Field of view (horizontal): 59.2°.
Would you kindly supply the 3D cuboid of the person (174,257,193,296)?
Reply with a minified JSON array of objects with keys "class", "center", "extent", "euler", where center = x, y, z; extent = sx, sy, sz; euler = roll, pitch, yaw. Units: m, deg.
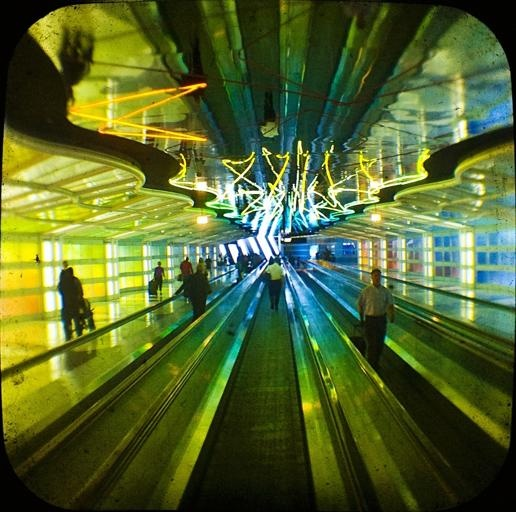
[{"class":"person","center":[-1.747,0.513,10.824],"extent":[0.380,0.897,1.295],"euler":[0,6,-9]}]

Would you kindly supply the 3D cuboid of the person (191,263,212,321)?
[{"class":"person","center":[-1.348,0.764,10.660],"extent":[0.416,1.422,1.077],"euler":[1,6,-7]}]

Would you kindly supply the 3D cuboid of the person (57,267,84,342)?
[{"class":"person","center":[-3.639,0.912,8.847],"extent":[0.436,1.659,0.994],"euler":[-1,7,-23]}]

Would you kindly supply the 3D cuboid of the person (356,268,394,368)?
[{"class":"person","center":[1.717,0.973,6.839],"extent":[0.541,1.637,0.529],"euler":[1,7,-4]}]
